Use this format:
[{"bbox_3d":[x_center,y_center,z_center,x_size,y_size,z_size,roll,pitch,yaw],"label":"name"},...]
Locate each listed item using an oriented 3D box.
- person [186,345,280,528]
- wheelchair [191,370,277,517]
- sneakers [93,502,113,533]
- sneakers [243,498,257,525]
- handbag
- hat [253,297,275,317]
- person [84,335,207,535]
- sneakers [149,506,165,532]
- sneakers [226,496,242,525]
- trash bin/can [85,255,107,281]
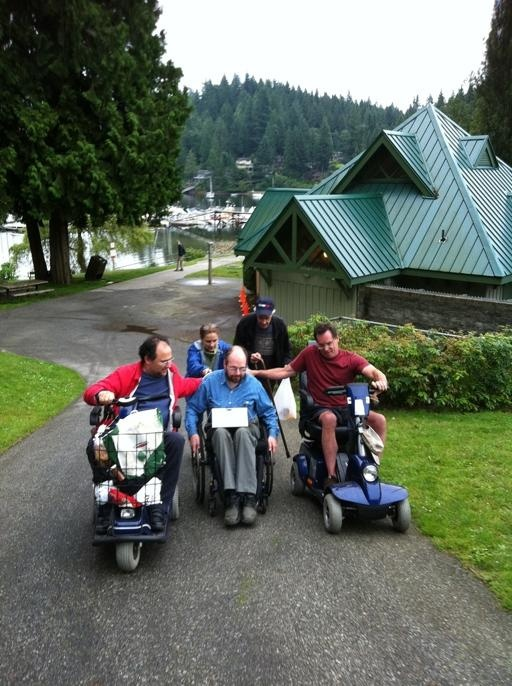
[{"bbox_3d":[-0.217,0.947,5.051,0.859,1.858,1.154,1,13,-15],"label":"person"},{"bbox_3d":[-0.232,0.957,5.419,0.885,1.845,1.409,0,0,-8],"label":"wheelchair"},{"bbox_3d":[-1.243,1.414,4.028,0.139,0.219,0.094,2,-24,-22],"label":"sneakers"},{"bbox_3d":[-0.066,1.621,4.812,0.128,0.179,0.167,-1,5,-2],"label":"sneakers"},{"bbox_3d":[-0.945,0.821,3.843,0.459,0.559,0.204,-2,5,-19],"label":"handbag"},{"bbox_3d":[0.126,-0.524,7.246,0.269,0.272,0.409,-1,5,0],"label":"hat"},{"bbox_3d":[-0.969,0.703,4.578,0.772,1.368,1.809,-1,11,-6],"label":"person"},{"bbox_3d":[-0.810,1.444,4.098,0.098,0.183,0.075,-3,-29,-6],"label":"sneakers"},{"bbox_3d":[-0.221,1.610,4.788,0.146,0.216,0.216,-1,5,-1],"label":"sneakers"},{"bbox_3d":[-10.301,-4.781,31.844,1.054,1.595,1.502,0,5,4],"label":"trash bin/can"}]
